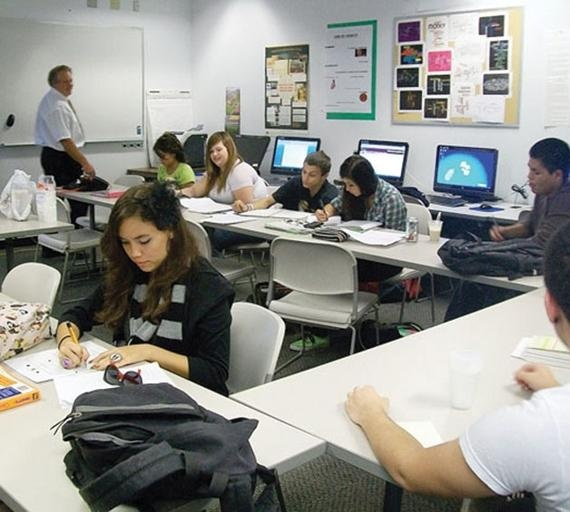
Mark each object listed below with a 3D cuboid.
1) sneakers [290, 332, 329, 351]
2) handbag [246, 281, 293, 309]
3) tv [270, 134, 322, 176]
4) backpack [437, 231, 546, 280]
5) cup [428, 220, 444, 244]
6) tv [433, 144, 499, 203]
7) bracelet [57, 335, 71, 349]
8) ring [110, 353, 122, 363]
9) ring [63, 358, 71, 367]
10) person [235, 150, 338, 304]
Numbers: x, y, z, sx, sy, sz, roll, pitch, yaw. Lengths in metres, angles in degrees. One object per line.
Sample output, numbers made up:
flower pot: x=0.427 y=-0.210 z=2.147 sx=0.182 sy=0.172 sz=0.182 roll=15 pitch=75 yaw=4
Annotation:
sneakers: x=0.203 y=0.611 z=3.390 sx=0.328 sy=0.112 sz=0.138 roll=-1 pitch=4 yaw=-17
handbag: x=-0.096 y=0.285 z=3.611 sx=0.272 sy=0.230 sz=0.219 roll=-6 pitch=13 yaw=-44
tv: x=0.152 y=-1.174 z=5.367 sx=0.862 sy=0.554 sz=0.141 roll=13 pitch=10 yaw=34
backpack: x=1.137 y=0.003 z=2.575 sx=0.427 sy=0.136 sz=0.415 roll=-6 pitch=7 yaw=-29
cup: x=1.054 y=-0.168 z=3.204 sx=0.147 sy=0.169 sz=0.131 roll=5 pitch=14 yaw=17
tv: x=1.818 y=-0.814 z=4.553 sx=0.598 sy=0.457 sz=0.196 roll=16 pitch=19 yaw=42
bracelet: x=-0.733 y=0.288 z=1.539 sx=0.043 sy=0.029 sz=0.041 roll=2 pitch=0 yaw=23
ring: x=-0.508 y=0.311 z=1.409 sx=0.033 sy=0.015 sz=0.036 roll=0 pitch=14 yaw=0
ring: x=-0.654 y=0.327 z=1.400 sx=0.024 sy=0.029 sz=0.011 roll=3 pitch=16 yaw=12
person: x=0.168 y=-0.524 z=4.230 sx=0.803 sy=1.135 sz=0.705 roll=14 pitch=16 yaw=42
